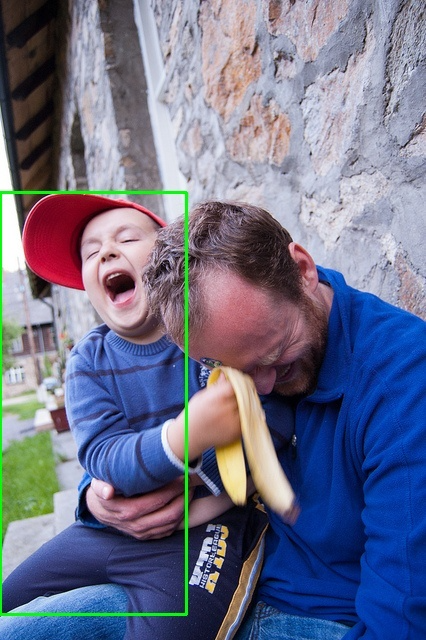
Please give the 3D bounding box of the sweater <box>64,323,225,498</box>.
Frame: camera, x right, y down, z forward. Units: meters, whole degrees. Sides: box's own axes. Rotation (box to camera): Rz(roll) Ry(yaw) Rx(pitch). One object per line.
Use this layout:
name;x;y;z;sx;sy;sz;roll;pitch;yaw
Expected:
sweater;-0.137;0.248;1.381;0.409;0.492;0.293;-10;-9;-30

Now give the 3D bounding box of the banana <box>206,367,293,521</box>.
banana;0.037;0.230;1.045;0.081;0.120;0.308;-4;40;-25

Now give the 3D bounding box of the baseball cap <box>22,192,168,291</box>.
baseball cap;-0.331;-0.199;1.593;0.409;0.150;0.271;35;-31;-22
